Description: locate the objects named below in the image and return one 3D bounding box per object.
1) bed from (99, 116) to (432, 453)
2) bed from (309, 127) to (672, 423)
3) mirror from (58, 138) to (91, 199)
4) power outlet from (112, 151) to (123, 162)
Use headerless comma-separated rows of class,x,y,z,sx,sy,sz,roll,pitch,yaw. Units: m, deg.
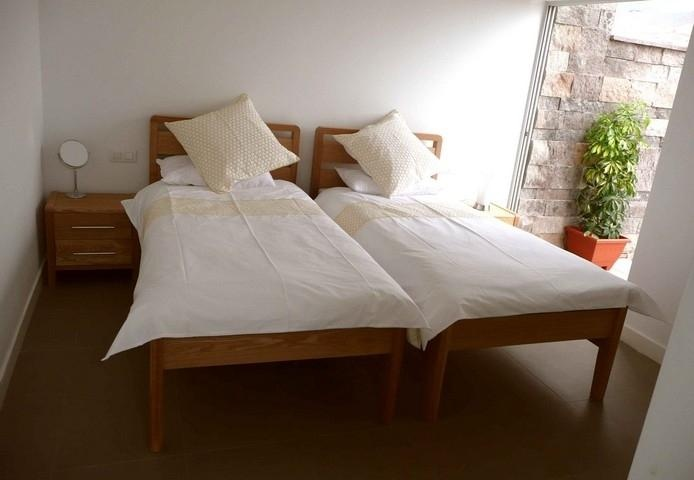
bed,-0.555,0.383,3.096,1.292,1.170,1.705,7,-11,-25
bed,0.886,-0.102,3.604,1.353,1.379,2.281,-3,29,-11
mirror,-2.105,-0.548,3.680,0.191,0.438,0.219,-8,16,-27
power outlet,-1.842,-0.669,3.821,0.075,0.072,0.018,-4,9,-16
